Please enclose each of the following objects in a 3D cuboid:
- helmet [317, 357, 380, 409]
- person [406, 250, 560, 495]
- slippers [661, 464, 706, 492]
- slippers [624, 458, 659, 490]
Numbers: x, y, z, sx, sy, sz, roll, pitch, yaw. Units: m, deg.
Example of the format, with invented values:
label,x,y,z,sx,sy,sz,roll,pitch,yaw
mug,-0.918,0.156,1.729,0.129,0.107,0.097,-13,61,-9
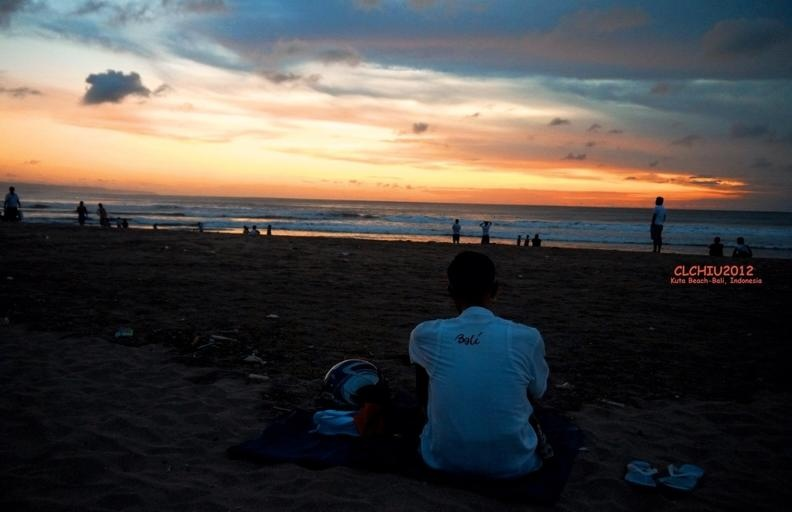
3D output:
label,x,y,z,sx,sy,sz,roll,pitch,yaw
helmet,-0.502,1.418,6.996,0.507,0.422,0.656,10,-6,-44
person,0.770,1.058,5.979,1.302,2.192,0.463,2,4,8
slippers,2.832,2.205,6.243,0.277,0.166,0.428,4,4,42
slippers,2.436,2.184,6.250,0.243,0.079,0.227,5,13,22
